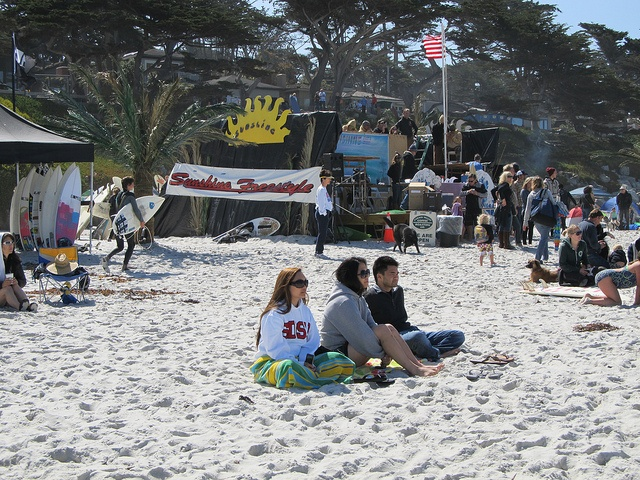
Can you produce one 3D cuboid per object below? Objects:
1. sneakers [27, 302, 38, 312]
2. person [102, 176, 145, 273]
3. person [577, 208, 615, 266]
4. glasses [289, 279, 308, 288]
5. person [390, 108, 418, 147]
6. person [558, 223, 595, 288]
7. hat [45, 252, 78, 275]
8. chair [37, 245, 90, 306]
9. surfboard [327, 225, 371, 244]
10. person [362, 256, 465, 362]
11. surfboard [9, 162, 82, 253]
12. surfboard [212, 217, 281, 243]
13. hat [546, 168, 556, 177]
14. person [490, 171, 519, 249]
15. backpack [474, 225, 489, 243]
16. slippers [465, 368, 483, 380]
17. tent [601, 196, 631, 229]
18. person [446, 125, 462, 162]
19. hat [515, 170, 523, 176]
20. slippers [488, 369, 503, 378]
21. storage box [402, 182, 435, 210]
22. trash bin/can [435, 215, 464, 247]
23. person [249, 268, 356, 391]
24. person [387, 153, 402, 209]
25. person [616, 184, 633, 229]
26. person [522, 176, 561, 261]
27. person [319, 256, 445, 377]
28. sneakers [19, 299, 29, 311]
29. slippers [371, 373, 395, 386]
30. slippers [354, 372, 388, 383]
[{"bbox_3d":[-3.939,0.923,10.503,0.117,0.116,0.121,-4,15,-14],"label":"sneakers"},{"bbox_3d":[-3.747,-0.326,14.478,0.781,1.692,1.120,-4,14,-16],"label":"person"},{"bbox_3d":[4.584,0.113,12.692,0.577,1.127,0.615,0,10,42],"label":"person"},{"bbox_3d":[-0.217,0.477,8.436,0.213,0.097,0.078,-9,16,-31],"label":"glasses"},{"bbox_3d":[2.547,-3.030,22.601,0.702,1.709,0.468,-2,0,-2],"label":"person"},{"bbox_3d":[4.074,0.235,12.001,0.545,0.911,0.717,-2,8,-6],"label":"person"},{"bbox_3d":[-3.777,0.332,11.238,0.472,0.277,0.329,-9,17,-31],"label":"hat"},{"bbox_3d":[-3.897,0.539,11.426,0.673,0.915,0.902,1,2,-31],"label":"chair"},{"bbox_3d":[0.811,-0.132,18.741,1.270,0.356,0.266,6,-7,-13],"label":"surfboard"},{"bbox_3d":[1.073,0.762,8.907,1.065,1.187,0.926,-8,-4,40],"label":"person"},{"bbox_3d":[-5.445,-0.555,15.085,1.300,1.816,0.878,2,14,9],"label":"surfboard"},{"bbox_3d":[-1.714,-0.292,19.320,2.013,0.669,0.355,-13,-3,-37],"label":"surfboard"},{"bbox_3d":[4.890,-1.444,16.206,0.171,0.146,0.126,-29,25,-24],"label":"hat"},{"bbox_3d":[4.096,-0.651,17.005,0.488,1.612,0.539,2,14,7],"label":"person"},{"bbox_3d":[3.020,-0.094,14.541,0.353,0.474,0.263,-2,0,4],"label":"backpack"},{"bbox_3d":[1.681,1.476,8.361,0.189,0.036,0.252,3,15,13],"label":"slippers"},{"bbox_3d":[10.365,-0.918,27.188,1.177,1.166,1.219,3,6,36],"label":"tent"},{"bbox_3d":[3.925,-2.753,22.364,0.413,0.980,1.203,2,14,9],"label":"person"},{"bbox_3d":[4.937,-1.680,18.981,0.229,0.113,0.343,-2,1,9],"label":"hat"},{"bbox_3d":[1.914,1.472,8.339,0.131,0.024,0.221,11,18,35],"label":"slippers"},{"bbox_3d":[2.379,-1.078,18.504,0.695,0.689,0.714,0,11,-3],"label":"storage box"},{"bbox_3d":[2.967,-0.221,17.780,0.685,0.715,0.519,-1,1,14],"label":"trash bin/can"},{"bbox_3d":[-0.278,0.898,8.743,1.145,1.514,1.318,-4,-2,36],"label":"person"},{"bbox_3d":[1.937,-1.490,19.796,0.384,1.477,0.885,1,14,6],"label":"person"},{"bbox_3d":[9.641,-1.095,24.308,0.446,1.573,1.453,6,15,23],"label":"person"},{"bbox_3d":[4.261,-0.386,14.799,0.570,1.694,0.571,-1,5,1],"label":"person"},{"bbox_3d":[0.712,0.887,8.748,1.324,1.355,0.693,1,4,26],"label":"person"},{"bbox_3d":[-4.031,0.885,10.448,0.104,0.142,0.057,3,-19,-28],"label":"sneakers"},{"bbox_3d":[0.682,1.529,8.373,0.205,0.047,0.285,-6,16,-22],"label":"slippers"},{"bbox_3d":[0.553,1.527,8.391,0.336,0.092,0.134,-6,12,13],"label":"slippers"}]
